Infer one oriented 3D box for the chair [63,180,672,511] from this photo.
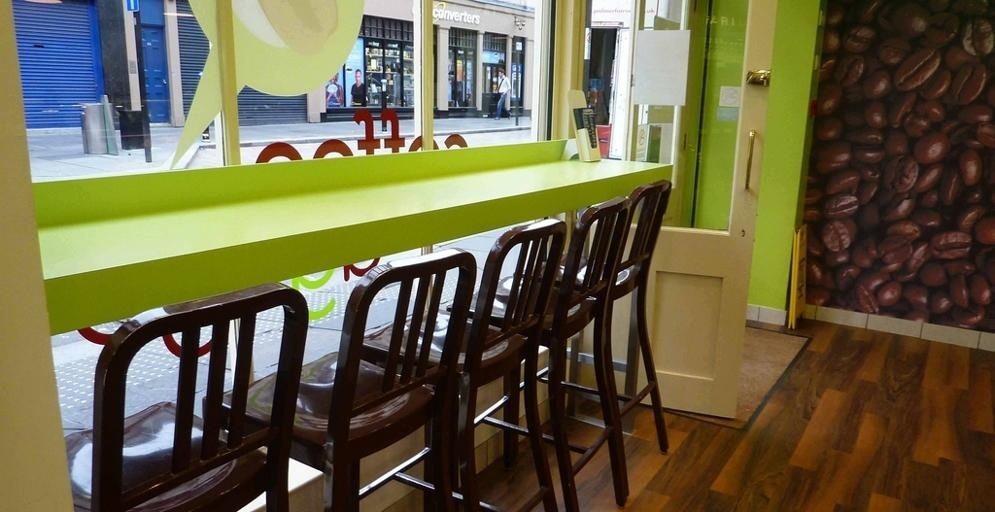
[{"bbox_3d":[-0.570,0.368,2.601,0.505,0.993,1.753,26,30,37],"label":"chair"}]
